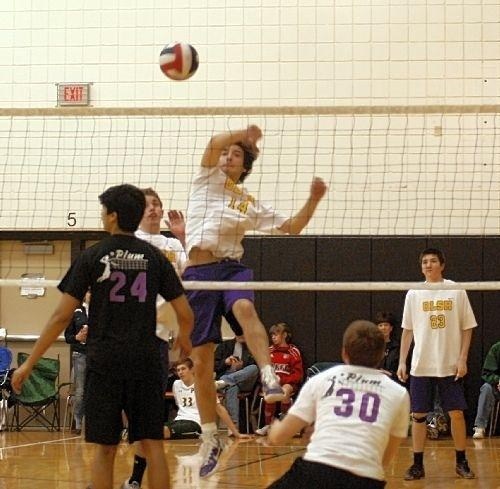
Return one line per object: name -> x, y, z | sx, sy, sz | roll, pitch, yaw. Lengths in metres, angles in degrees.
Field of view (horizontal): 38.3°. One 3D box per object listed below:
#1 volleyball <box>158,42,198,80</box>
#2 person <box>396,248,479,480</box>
volleyball -> -0.557, -1.394, 5.545 | 0.308, 0.269, 0.274 | 2, 3, -25
person -> 1.472, 0.877, 5.759 | 0.521, 1.818, 0.602 | -1, -3, 13
